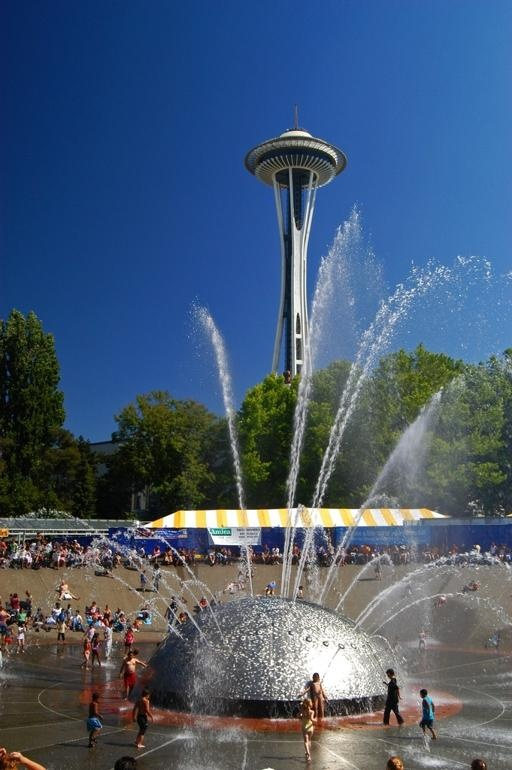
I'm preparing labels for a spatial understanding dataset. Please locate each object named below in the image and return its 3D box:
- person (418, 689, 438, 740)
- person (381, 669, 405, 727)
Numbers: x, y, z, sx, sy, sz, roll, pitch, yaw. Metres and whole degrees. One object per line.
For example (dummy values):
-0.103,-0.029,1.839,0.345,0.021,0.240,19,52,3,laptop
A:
3.416,6.318,17.313,0.308,0.991,1.322,2,-4,12,person
2.928,6.406,18.521,0.424,1.159,1.495,2,-4,10,person
